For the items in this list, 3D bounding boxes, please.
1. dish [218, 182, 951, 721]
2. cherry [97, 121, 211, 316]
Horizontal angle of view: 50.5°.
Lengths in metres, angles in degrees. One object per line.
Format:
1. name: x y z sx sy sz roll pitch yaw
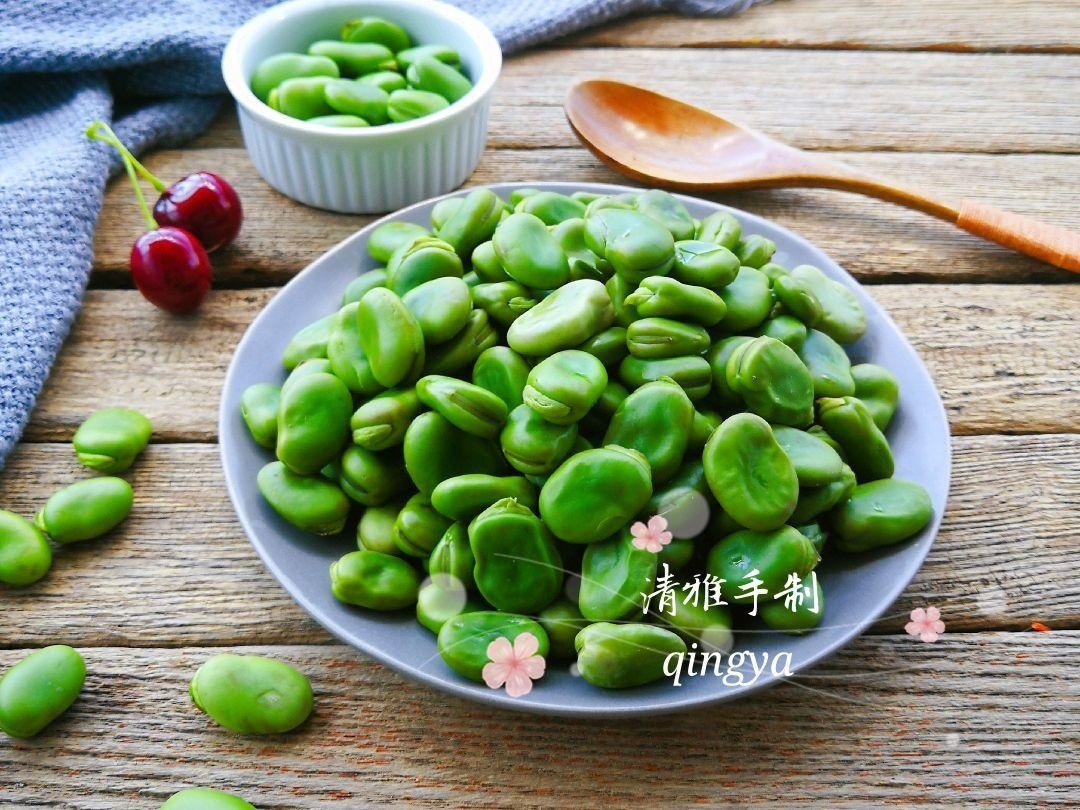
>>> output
1. dish: -0.080 0.100 1.290 0.729 0.115 0.671 -26 52 -27
2. cherry: -0.563 -0.256 1.651 0.101 0.100 0.321 -18 71 -49
